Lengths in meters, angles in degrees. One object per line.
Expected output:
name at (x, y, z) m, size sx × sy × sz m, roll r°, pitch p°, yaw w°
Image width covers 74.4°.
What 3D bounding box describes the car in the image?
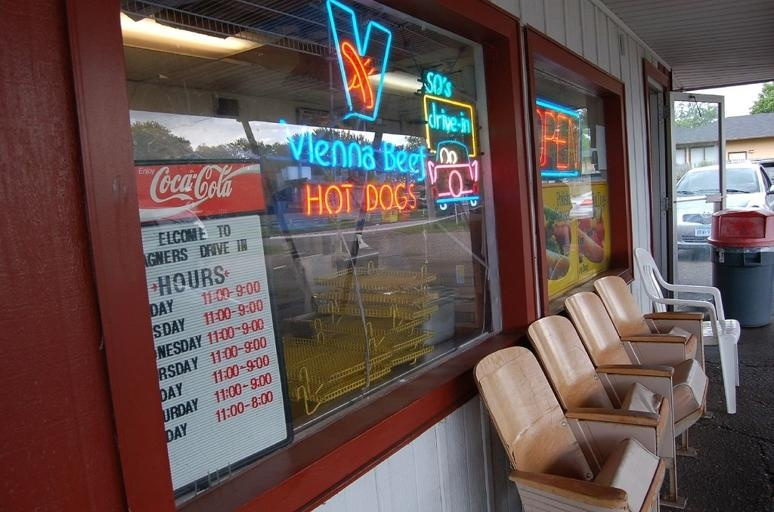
car at (6.052, -0.963, 9.756) m, size 1.853 × 1.683 × 3.769 m, roll -3°, pitch 1°, yaw 42°
